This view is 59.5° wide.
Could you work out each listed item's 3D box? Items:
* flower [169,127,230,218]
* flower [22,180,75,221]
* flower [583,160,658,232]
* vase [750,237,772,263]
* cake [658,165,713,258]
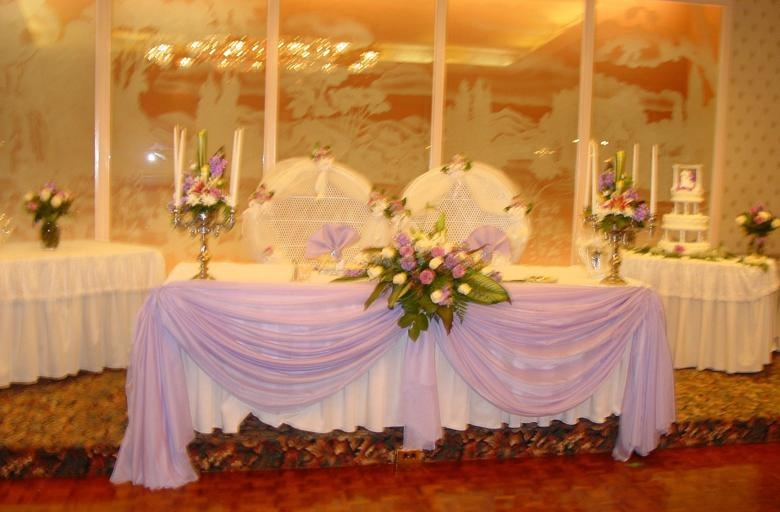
[{"bbox_3d":[-1.267,-0.643,4.885,0.500,0.593,0.458,2,15,21],"label":"flower"},{"bbox_3d":[-3.120,-0.468,6.326,0.300,0.317,0.327,-13,12,-6],"label":"flower"},{"bbox_3d":[1.737,-0.484,5.171,0.469,0.632,0.372,1,3,21],"label":"flower"},{"bbox_3d":[3.645,-0.077,6.797,0.228,0.137,0.300,-27,-3,12],"label":"vase"},{"bbox_3d":[3.033,-0.490,7.143,0.512,0.906,0.515,-4,2,16],"label":"cake"}]
